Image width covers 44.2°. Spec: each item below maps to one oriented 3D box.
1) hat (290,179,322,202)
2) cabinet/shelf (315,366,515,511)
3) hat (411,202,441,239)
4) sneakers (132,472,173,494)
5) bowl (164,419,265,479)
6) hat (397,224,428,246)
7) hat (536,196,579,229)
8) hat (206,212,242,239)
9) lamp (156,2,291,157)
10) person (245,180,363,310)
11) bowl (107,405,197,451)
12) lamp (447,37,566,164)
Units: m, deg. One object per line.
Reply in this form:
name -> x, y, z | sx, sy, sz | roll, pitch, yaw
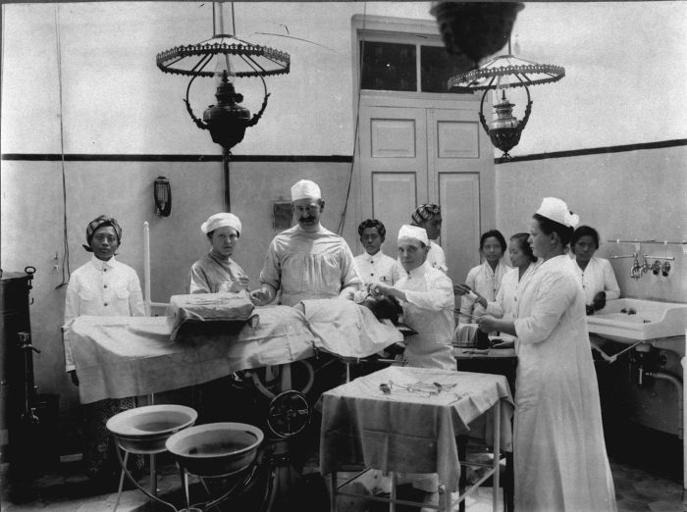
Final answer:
hat -> -0.248, -0.441, 5.793 | 0.144, 0.121, 0.161 | 1, 1, 14
cabinet/shelf -> 0.440, 1.039, 5.117 | 1.116, 0.615, 0.728 | 3, 4, 11
hat -> 0.623, -0.233, 6.010 | 0.220, 0.243, 0.193 | -1, 3, 38
sneakers -> -1.211, 1.491, 5.493 | 0.169, 0.067, 0.194 | 4, 10, 34
bowl -> -0.770, 1.129, 4.978 | 0.382, 0.126, 0.378 | 0, 4, 0
hat -> 0.485, -0.143, 5.786 | 0.143, 0.102, 0.152 | 7, 1, -5
hat -> 1.349, -0.258, 5.310 | 0.226, 0.130, 0.183 | 25, 13, 4
hat -> -0.834, -0.208, 5.683 | 0.179, 0.105, 0.158 | -14, -18, 43
lamp -> -0.761, -1.198, 6.001 | 0.857, 1.198, 0.897 | -2, 5, -12
person -> -0.249, 0.032, 6.066 | 0.945, 1.344, 0.730 | 0, -1, -2
bowl -> -1.179, 1.038, 5.041 | 0.454, 0.119, 0.498 | 0, 8, 0
lamp -> 1.114, -1.053, 5.855 | 0.663, 0.775, 0.686 | -3, 8, 0
